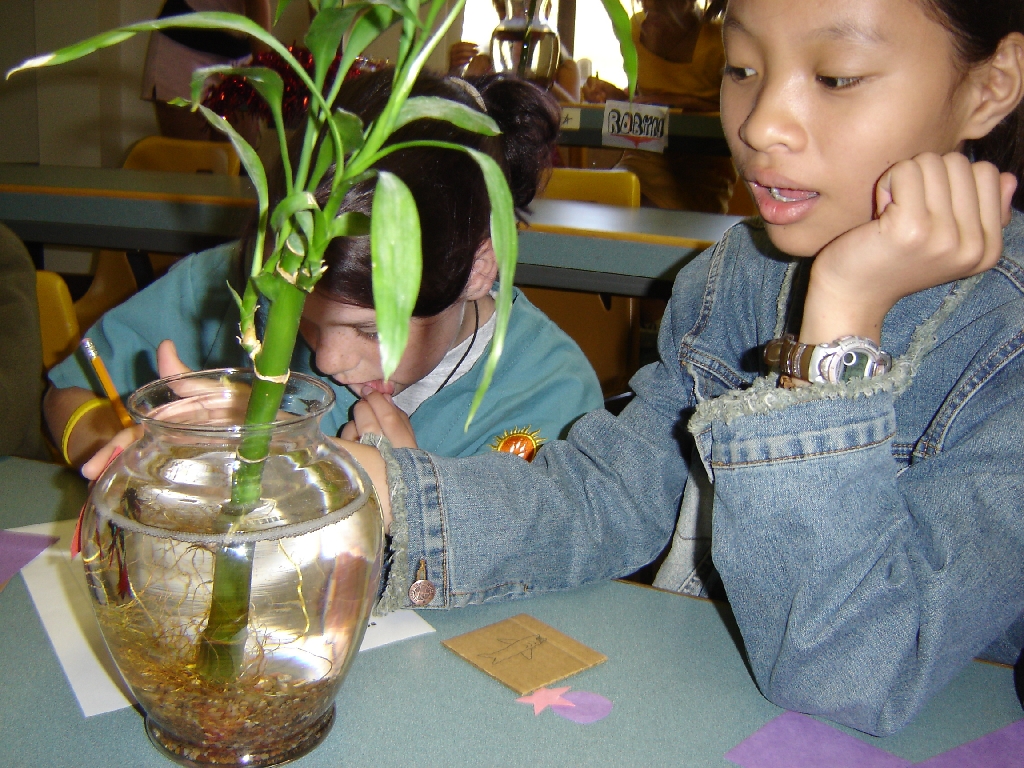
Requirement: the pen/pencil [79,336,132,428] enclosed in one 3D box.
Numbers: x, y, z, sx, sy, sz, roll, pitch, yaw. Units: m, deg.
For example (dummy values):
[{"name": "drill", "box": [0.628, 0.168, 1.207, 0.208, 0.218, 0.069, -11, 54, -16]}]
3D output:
[{"name": "pen/pencil", "box": [-0.594, 0.000, 1.135, 0.024, 0.141, 0.023, -19, 5, 20]}]
